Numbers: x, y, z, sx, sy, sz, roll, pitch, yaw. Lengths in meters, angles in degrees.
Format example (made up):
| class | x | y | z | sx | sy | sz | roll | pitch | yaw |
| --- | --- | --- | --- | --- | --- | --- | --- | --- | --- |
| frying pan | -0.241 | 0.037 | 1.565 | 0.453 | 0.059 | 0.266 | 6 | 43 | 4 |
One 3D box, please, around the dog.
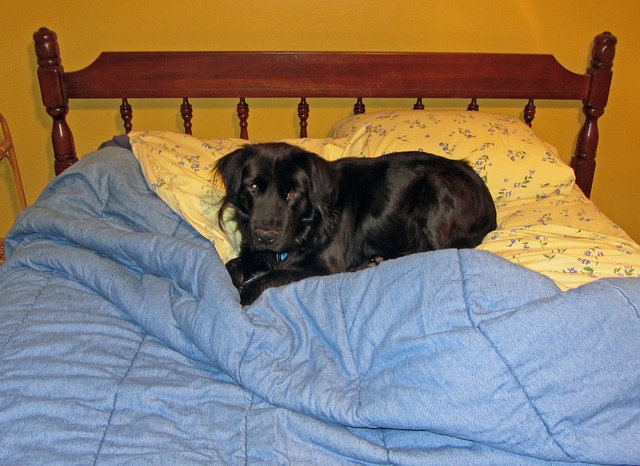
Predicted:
| class | x | y | z | sx | sy | sz | roll | pitch | yaw |
| --- | --- | --- | --- | --- | --- | --- | --- | --- | --- |
| dog | 0.259 | -0.177 | 3.788 | 1.681 | 0.750 | 0.877 | -13 | 26 | -11 |
